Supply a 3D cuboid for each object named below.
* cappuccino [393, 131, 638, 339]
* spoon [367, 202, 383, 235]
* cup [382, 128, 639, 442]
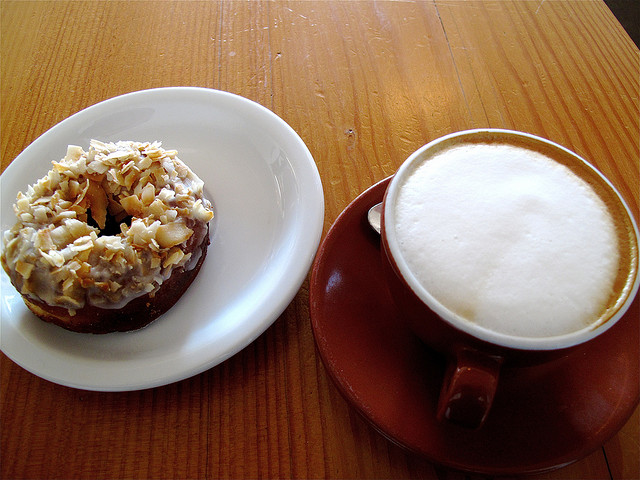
[{"bbox_3d":[0.246,-0.016,0.719,0.311,0.035,0.275,23,66,11],"label":"cappuccino"},{"bbox_3d":[0.083,-0.034,0.840,0.029,0.008,0.037,1,90,18],"label":"spoon"},{"bbox_3d":[0.229,0.026,0.765,0.341,0.154,0.322,0,63,0],"label":"cup"}]
